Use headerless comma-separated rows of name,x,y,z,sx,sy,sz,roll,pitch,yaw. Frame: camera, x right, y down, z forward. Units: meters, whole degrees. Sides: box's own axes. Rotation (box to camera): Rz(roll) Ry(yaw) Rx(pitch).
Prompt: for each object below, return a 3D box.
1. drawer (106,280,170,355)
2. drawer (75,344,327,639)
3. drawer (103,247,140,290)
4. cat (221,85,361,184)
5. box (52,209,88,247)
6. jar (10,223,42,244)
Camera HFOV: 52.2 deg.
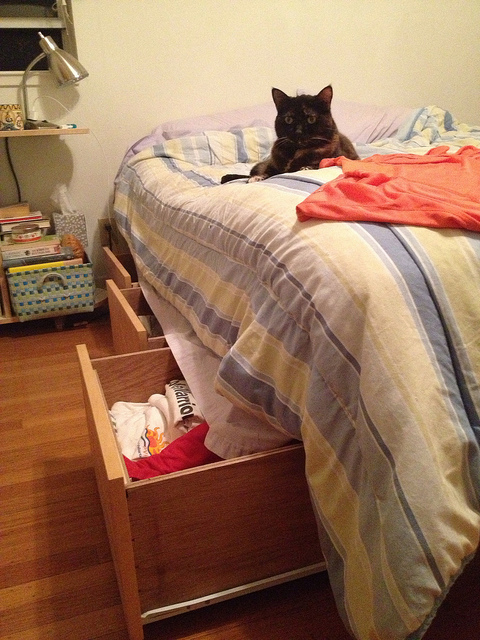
drawer,-0.299,-0.013,1.468,0.118,0.146,0.223,-7,27,-16
drawer,-0.013,0.333,0.926,0.491,0.288,0.481,-8,25,-17
drawer,-0.477,-0.214,1.996,0.075,0.077,0.243,-5,25,-19
cat,0.189,-0.615,1.703,0.446,0.274,0.587,7,18,26
box,-0.762,-0.411,2.196,0.179,0.176,0.129,-5,37,-10
jar,-0.860,-0.364,1.988,0.093,0.054,0.091,1,22,0
